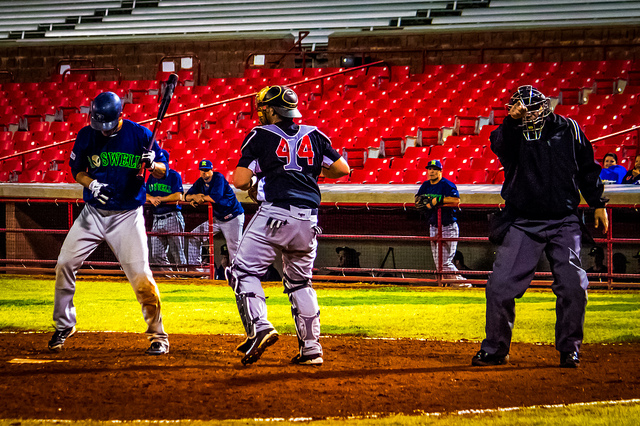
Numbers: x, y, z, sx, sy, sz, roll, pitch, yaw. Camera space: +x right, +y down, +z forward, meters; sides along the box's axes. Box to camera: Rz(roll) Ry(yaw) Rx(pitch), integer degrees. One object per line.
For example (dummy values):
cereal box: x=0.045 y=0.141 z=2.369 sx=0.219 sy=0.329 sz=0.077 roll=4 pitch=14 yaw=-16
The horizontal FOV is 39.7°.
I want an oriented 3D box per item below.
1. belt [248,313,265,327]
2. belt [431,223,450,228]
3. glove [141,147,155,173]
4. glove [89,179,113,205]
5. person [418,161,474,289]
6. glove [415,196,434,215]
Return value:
belt: x=-0.931 y=1.564 z=12.980 sx=0.178 sy=0.052 sz=0.130 roll=-34 pitch=3 yaw=-4
belt: x=2.498 y=0.238 z=18.447 sx=0.356 sy=0.098 sz=0.067 roll=7 pitch=15 yaw=28
glove: x=-2.609 y=-0.827 z=13.630 sx=0.114 sy=0.298 sz=0.229 roll=10 pitch=0 yaw=-40
glove: x=-3.348 y=-0.334 z=13.502 sx=0.101 sy=0.365 sz=0.297 roll=-30 pitch=-10 yaw=39
person: x=2.539 y=0.224 z=18.400 sx=1.155 sy=2.549 sz=0.633 roll=10 pitch=17 yaw=37
glove: x=2.144 y=-0.170 z=18.381 sx=0.260 sy=0.161 sz=0.351 roll=5 pitch=-37 yaw=6
